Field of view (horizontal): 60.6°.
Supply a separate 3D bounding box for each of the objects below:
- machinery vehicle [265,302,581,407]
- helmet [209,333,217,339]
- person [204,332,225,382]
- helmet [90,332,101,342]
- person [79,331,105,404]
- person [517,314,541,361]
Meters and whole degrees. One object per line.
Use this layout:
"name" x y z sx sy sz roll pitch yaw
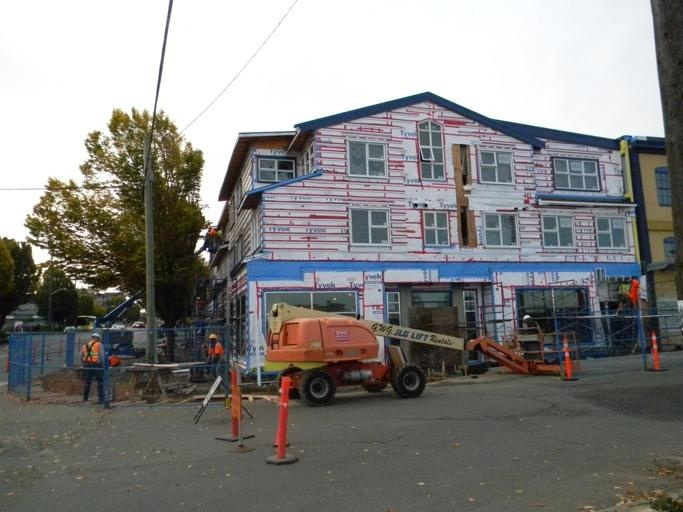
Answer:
"machinery vehicle" 2.675 3.121 18.760 10.173 2.601 2.734 4 -7 -25
"helmet" -4.298 2.691 19.591 0.205 0.089 0.148 1 -1 8
"person" -4.266 3.357 19.690 0.582 1.502 1.007 0 -11 -7
"helmet" -7.675 2.535 18.214 0.210 0.223 0.255 1 -5 9
"person" -7.591 3.415 17.884 0.819 2.127 0.415 -9 -13 33
"person" 6.817 2.892 21.085 0.978 1.475 0.944 -4 3 14
